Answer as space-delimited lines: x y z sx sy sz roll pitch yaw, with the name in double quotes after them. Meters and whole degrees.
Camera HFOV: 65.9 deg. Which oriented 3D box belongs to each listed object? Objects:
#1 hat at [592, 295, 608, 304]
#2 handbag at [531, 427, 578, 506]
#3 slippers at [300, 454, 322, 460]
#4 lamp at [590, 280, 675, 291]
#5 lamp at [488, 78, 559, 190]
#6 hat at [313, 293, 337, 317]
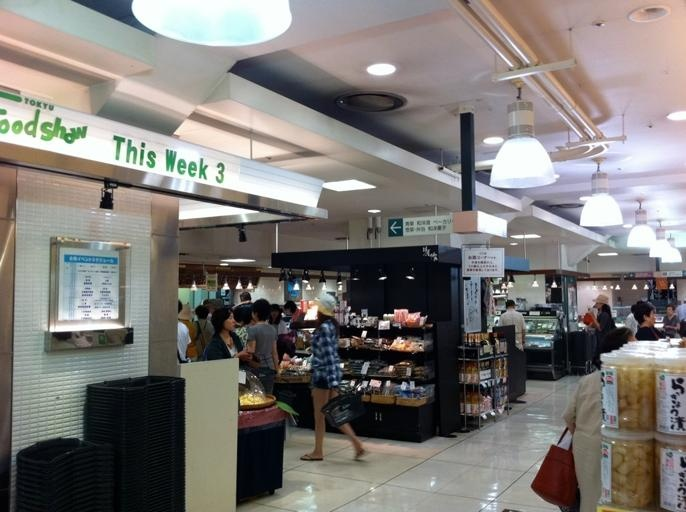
5.780 0.982 11.822 0.276 0.128 0.342 6 2 34 "hat"
1.588 1.649 3.952 0.289 0.588 0.549 -4 -5 27 "handbag"
-0.419 2.643 6.925 0.207 0.042 0.101 5 -8 -1 "slippers"
12.766 1.408 24.546 2.344 0.512 2.166 -4 -5 26 "lamp"
1.417 -0.975 4.228 0.470 0.917 0.709 -3 -5 21 "lamp"
-0.212 0.621 6.921 0.163 0.275 0.314 -8 6 31 "hat"
